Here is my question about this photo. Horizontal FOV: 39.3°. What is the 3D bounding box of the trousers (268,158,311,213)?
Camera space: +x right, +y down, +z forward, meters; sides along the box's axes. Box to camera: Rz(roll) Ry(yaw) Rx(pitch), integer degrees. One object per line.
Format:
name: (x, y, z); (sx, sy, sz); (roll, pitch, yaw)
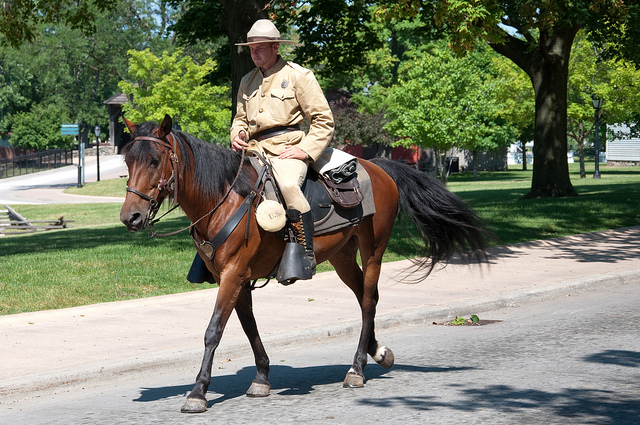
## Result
trousers: (-0.497, -0.461, 15.044); (0.715, 0.876, 0.323); (5, -13, -28)
